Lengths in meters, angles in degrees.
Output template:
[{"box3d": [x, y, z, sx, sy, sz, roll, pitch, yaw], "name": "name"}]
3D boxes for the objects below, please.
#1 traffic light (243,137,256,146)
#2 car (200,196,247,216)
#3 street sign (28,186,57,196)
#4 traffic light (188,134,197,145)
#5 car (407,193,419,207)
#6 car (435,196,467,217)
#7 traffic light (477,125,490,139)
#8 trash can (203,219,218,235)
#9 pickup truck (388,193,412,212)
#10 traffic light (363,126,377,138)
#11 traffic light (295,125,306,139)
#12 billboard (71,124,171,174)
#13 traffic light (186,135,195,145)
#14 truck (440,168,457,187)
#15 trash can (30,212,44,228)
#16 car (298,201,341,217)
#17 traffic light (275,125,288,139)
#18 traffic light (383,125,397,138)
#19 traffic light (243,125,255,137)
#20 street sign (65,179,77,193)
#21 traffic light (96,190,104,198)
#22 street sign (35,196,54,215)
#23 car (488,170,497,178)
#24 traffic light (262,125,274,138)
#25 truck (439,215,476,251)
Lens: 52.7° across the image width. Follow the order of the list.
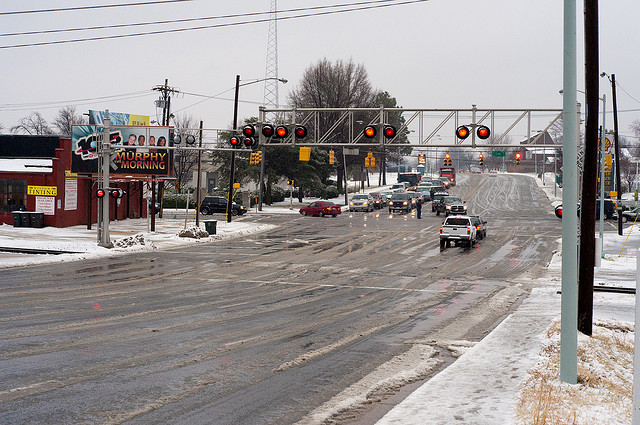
[{"box3d": [-3.263, -3.276, 29.648, 0.463, 0.366, 0.603, -3, 3, -8], "name": "traffic light"}, {"box3d": [-9.730, -0.586, 64.207, 4.236, 1.794, 2.235, -1, 1, -1], "name": "car"}, {"box3d": [-18.885, -1.459, 44.482, 1.957, 0.717, 0.411, -2, 4, 14], "name": "street sign"}, {"box3d": [-7.384, -4.221, 37.063, 0.517, 0.489, 0.117, 12, -1, -35], "name": "traffic light"}, {"box3d": [10.109, -1.299, 71.362, 1.124, 0.940, 1.703, -1, -4, 7], "name": "car"}, {"box3d": [11.921, -0.621, 60.070, 1.430, 1.058, 2.830, 0, -2, -10], "name": "car"}, {"box3d": [7.878, -4.007, 31.929, 0.719, 0.554, 0.392, -5, 4, -35], "name": "traffic light"}, {"box3d": [-7.323, 1.062, 43.435, 0.916, 1.048, 1.038, -1, 4, -19], "name": "trash can"}, {"box3d": [8.074, -1.018, 67.209, 1.509, 1.263, 2.566, -1, -4, 10], "name": "pickup truck"}, {"box3d": [2.171, -3.711, 29.543, 0.553, 0.551, 0.649, -3, 3, -17], "name": "traffic light"}, {"box3d": [-0.968, -3.782, 29.861, 0.452, 0.602, 1.169, -3, 3, -4], "name": "traffic light"}, {"box3d": [-13.509, -4.364, 44.073, 7.044, 3.703, 0.105, 1, 0, 0], "name": "billboard"}, {"box3d": [-7.398, -4.181, 36.932, 0.538, 0.511, 0.123, 0, 6, -12], "name": "traffic light"}, {"box3d": [20.316, -6.030, 105.647, 1.938, 2.105, 3.549, -1, 0, 9], "name": "truck"}, {"box3d": [-19.092, 0.569, 43.748, 0.941, 1.117, 1.008, 0, 2, -15], "name": "trash can"}, {"box3d": [-0.034, -0.309, 62.341, 3.455, 1.131, 1.661, 4, 6, 40], "name": "car"}, {"box3d": [-1.807, -3.704, 29.264, 0.619, 0.605, 0.650, 2, 0, 1], "name": "traffic light"}, {"box3d": [3.120, -3.790, 30.056, 0.485, 0.515, 0.546, -2, 3, 0], "name": "traffic light"}, {"box3d": [-3.237, -3.692, 29.155, 0.497, 0.518, 0.869, -3, 3, -7], "name": "traffic light"}, {"box3d": [-17.585, -1.876, 45.897, 0.040, 0.687, 0.994, -6, 3, 18], "name": "street sign"}, {"box3d": [-11.999, -1.029, 35.616, 0.337, 0.395, 0.478, -4, 3, -21], "name": "traffic light"}, {"box3d": [-18.692, -0.478, 44.330, 1.272, 1.232, 0.105, 4, -1, -2], "name": "street sign"}, {"box3d": [36.231, -8.294, 138.984, 1.403, 0.990, 3.037, 2, 9, 15], "name": "car"}, {"box3d": [-2.336, -3.660, 28.677, 0.502, 0.528, 0.626, -3, 3, -5], "name": "traffic light"}, {"box3d": [8.377, 1.184, 39.992, 1.970, 1.738, 3.750, 3, 5, 20], "name": "truck"}]
